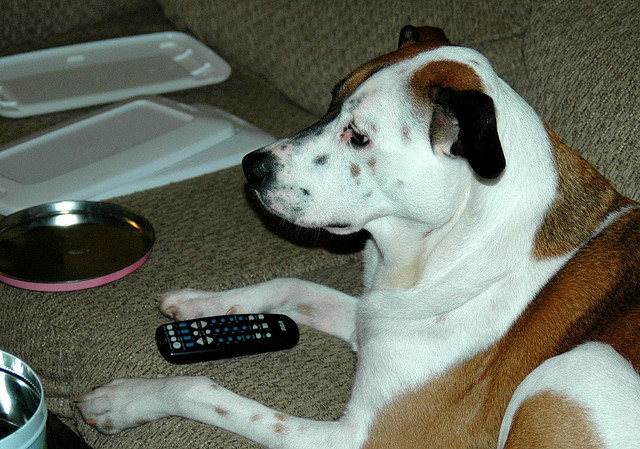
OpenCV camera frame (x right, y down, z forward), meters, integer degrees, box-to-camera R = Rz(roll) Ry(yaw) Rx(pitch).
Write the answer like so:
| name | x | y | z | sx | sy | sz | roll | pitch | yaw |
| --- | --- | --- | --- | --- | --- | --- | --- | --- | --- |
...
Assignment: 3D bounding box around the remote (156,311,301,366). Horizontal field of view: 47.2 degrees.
| name | x | y | z | sx | sy | sz | roll | pitch | yaw |
| --- | --- | --- | --- | --- | --- | --- | --- | --- | --- |
| remote | -0.262 | 0.347 | 2.237 | 0.443 | 0.086 | 0.138 | -2 | 38 | -28 |
